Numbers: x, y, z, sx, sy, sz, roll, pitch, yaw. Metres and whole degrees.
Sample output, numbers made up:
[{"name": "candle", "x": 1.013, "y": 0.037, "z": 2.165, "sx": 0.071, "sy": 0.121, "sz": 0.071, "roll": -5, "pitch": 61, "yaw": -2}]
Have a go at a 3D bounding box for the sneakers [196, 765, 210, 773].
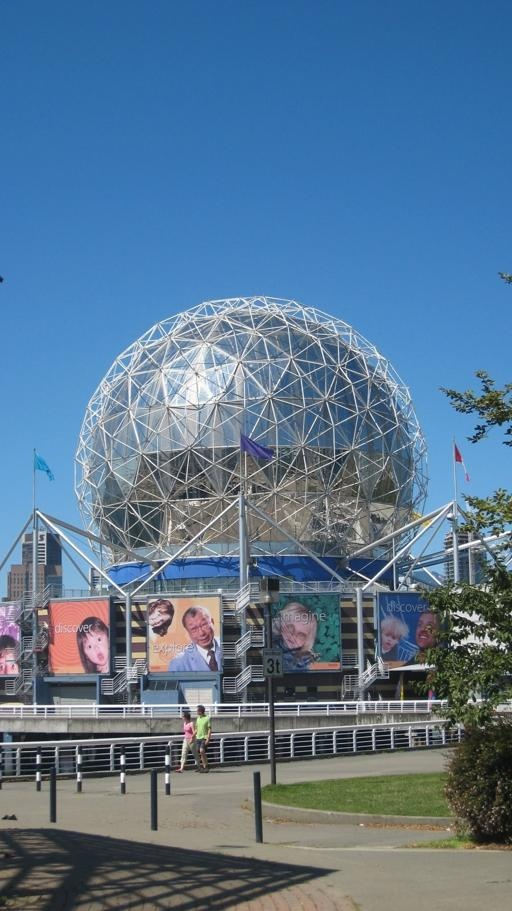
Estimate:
[{"name": "sneakers", "x": -1.120, "y": 6.458, "z": 33.569, "sx": 0.344, "sy": 0.118, "sz": 0.239, "roll": -2, "pitch": -4, "yaw": 37}]
